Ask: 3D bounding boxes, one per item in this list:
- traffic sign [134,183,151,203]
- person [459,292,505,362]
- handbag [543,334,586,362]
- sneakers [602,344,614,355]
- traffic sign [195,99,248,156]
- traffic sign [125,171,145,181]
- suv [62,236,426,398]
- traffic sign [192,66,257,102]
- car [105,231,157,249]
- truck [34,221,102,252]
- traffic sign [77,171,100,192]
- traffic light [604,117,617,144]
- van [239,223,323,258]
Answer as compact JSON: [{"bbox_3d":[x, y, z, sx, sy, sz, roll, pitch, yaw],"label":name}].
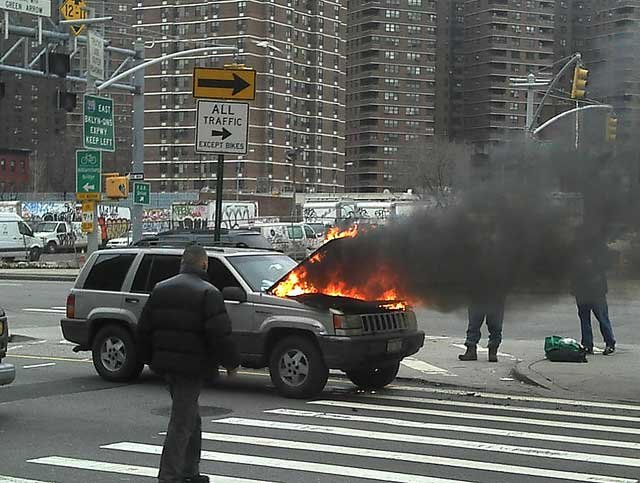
[{"bbox_3d":[-5.393,-1.431,27.703,0.344,0.666,1.086,1,5,12],"label":"traffic sign"},{"bbox_3d":[2.785,1.476,15.865,0.754,1.354,2.749,1,5,9],"label":"person"},{"bbox_3d":[4.146,1.852,15.655,0.455,0.307,0.478,-2,1,13],"label":"handbag"},{"bbox_3d":[5.073,1.911,16.115,0.265,0.118,0.103,4,-8,-44],"label":"sneakers"},{"bbox_3d":[-1.582,-1.823,14.756,0.873,0.950,0.090,3,-5,-10],"label":"traffic sign"},{"bbox_3d":[-5.577,-1.928,27.663,0.509,0.286,1.275,-1,5,-12],"label":"traffic sign"},{"bbox_3d":[-1.228,1.151,14.650,4.764,2.038,2.493,0,0,23],"label":"suv"},{"bbox_3d":[-1.574,-2.577,15.043,1.010,0.609,0.863,-1,5,-8],"label":"traffic sign"},{"bbox_3d":[-6.389,-0.043,30.679,0.766,0.671,1.742,-1,-4,11],"label":"car"},{"bbox_3d":[-14.534,-0.220,50.327,2.211,1.506,3.482,-2,-3,23],"label":"truck"},{"bbox_3d":[-7.055,-1.769,27.918,0.872,0.628,0.270,1,5,12],"label":"traffic sign"},{"bbox_3d":[4.499,-1.721,14.137,0.132,0.408,0.344,-1,5,-12],"label":"traffic light"},{"bbox_3d":[-1.157,-0.109,41.221,2.942,1.680,1.930,-5,7,-43],"label":"van"}]
